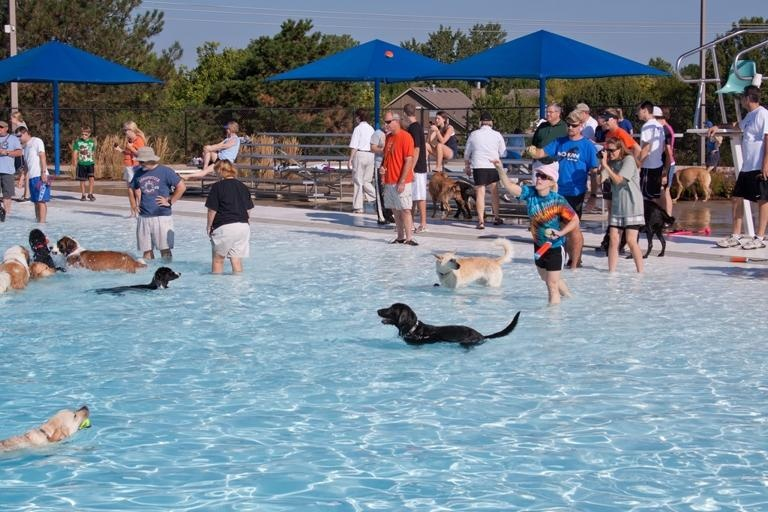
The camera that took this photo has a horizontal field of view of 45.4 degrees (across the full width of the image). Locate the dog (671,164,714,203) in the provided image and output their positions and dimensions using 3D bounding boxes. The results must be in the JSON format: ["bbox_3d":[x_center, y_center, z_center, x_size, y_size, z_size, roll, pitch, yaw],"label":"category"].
[{"bbox_3d":[8.162,-1.975,24.651,1.690,0.889,0.421,-2,-2,-11],"label":"dog"}]

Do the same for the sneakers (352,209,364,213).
[{"bbox_3d":[-0.594,-1.096,22.043,0.234,0.088,0.086,3,6,35],"label":"sneakers"}]

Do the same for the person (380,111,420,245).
[{"bbox_3d":[0.312,-1.426,16.963,0.561,2.450,0.742,-8,15,-28],"label":"person"}]

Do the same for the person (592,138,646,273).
[{"bbox_3d":[3.804,-0.814,14.535,0.721,2.110,0.545,2,14,13],"label":"person"}]

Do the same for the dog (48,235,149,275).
[{"bbox_3d":[-4.603,0.050,14.805,1.559,0.629,0.374,6,5,-6],"label":"dog"}]

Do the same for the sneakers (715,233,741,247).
[{"bbox_3d":[6.138,-0.283,16.443,0.535,0.198,0.181,-1,6,13],"label":"sneakers"}]

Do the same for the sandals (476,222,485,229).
[{"bbox_3d":[2.004,-0.641,18.901,0.187,0.136,0.482,-1,3,3],"label":"sandals"}]

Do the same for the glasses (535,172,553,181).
[{"bbox_3d":[2.182,-1.081,12.436,0.252,0.107,0.172,4,13,22],"label":"glasses"}]

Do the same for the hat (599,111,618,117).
[{"bbox_3d":[4.202,-2.581,16.854,0.232,0.073,0.143,2,4,3],"label":"hat"}]

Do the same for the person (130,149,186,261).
[{"bbox_3d":[-3.814,-0.867,15.532,1.172,1.893,0.660,11,18,41],"label":"person"}]

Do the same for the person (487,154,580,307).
[{"bbox_3d":[2.178,-0.244,12.638,0.959,1.868,0.576,1,13,9],"label":"person"}]

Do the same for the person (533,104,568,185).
[{"bbox_3d":[3.106,-1.849,16.154,0.518,1.670,0.676,-4,27,9],"label":"person"}]

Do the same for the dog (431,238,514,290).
[{"bbox_3d":[1.269,0.143,13.803,1.482,0.793,0.416,-5,28,-24],"label":"dog"}]

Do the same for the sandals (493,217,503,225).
[{"bbox_3d":[2.452,-0.748,19.554,0.102,0.106,0.267,4,11,18],"label":"sandals"}]

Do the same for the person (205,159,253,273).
[{"bbox_3d":[-2.431,-0.598,14.479,0.701,1.790,0.372,-3,14,-9],"label":"person"}]

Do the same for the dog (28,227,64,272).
[{"bbox_3d":[-5.577,-0.099,15.107,0.262,0.752,0.428,-20,-8,-23],"label":"dog"}]

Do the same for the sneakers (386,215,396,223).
[{"bbox_3d":[0.158,-0.814,19.909,0.141,0.165,0.065,-5,2,-13],"label":"sneakers"}]

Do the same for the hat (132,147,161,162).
[{"bbox_3d":[-4.014,-1.695,15.554,0.458,0.206,0.477,-3,8,-19],"label":"hat"}]

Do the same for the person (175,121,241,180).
[{"bbox_3d":[-3.815,-2.325,20.366,1.687,1.236,0.703,-1,-3,23],"label":"person"}]
